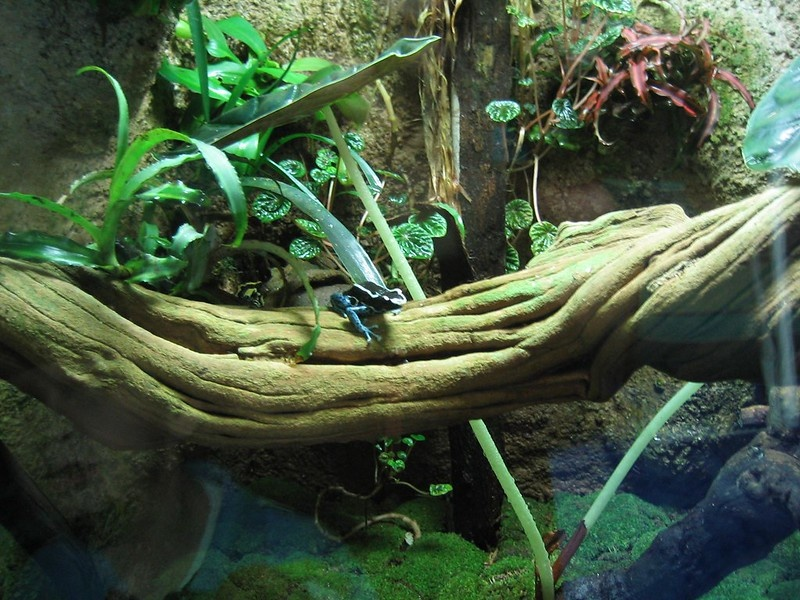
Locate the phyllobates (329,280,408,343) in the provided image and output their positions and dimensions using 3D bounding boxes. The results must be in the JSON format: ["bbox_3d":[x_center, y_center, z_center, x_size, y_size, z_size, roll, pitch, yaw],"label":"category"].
[{"bbox_3d":[-0.116,0.041,2.777,0.297,0.154,0.194,1,44,-6],"label":"phyllobates"}]
